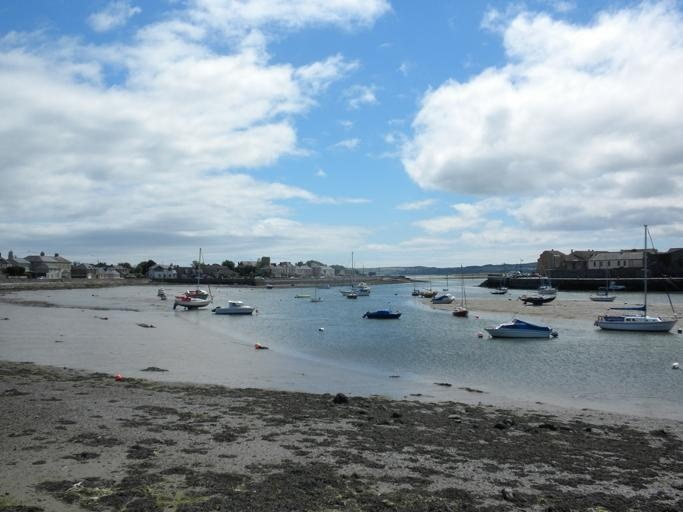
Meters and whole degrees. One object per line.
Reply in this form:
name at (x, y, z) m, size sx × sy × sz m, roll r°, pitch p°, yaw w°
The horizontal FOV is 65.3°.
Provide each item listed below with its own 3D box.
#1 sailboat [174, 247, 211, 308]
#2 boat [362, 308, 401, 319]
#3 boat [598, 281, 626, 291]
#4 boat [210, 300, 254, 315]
sailboat at (-20.004, 3.972, 72.187) m, size 5.498 × 5.966 × 2.804 m, roll -1°, pitch 11°, yaw -34°
boat at (3.894, 6.269, 56.424) m, size 4.486 × 1.129 × 1.372 m, roll 1°, pitch 4°, yaw 14°
boat at (54.865, 6.101, 107.904) m, size 7.101 × 1.901 × 2.110 m, roll -1°, pitch 4°, yaw -28°
boat at (-12.775, 6.380, 63.030) m, size 4.303 × 1.276 × 2.237 m, roll -1°, pitch 3°, yaw -4°
